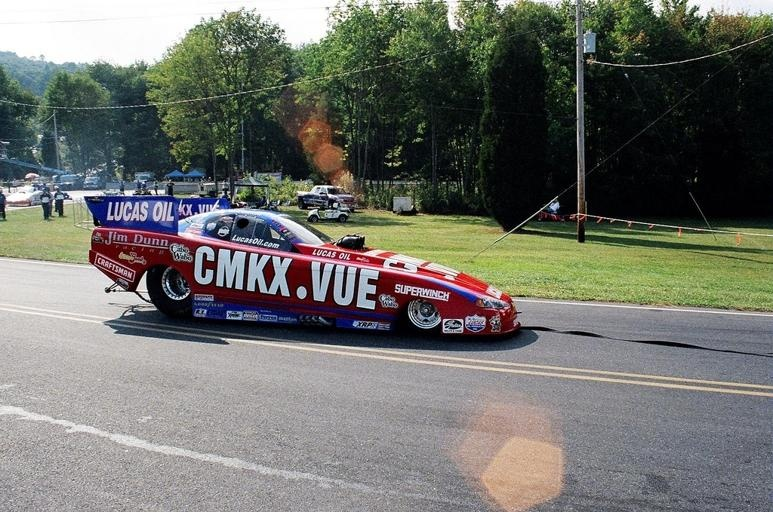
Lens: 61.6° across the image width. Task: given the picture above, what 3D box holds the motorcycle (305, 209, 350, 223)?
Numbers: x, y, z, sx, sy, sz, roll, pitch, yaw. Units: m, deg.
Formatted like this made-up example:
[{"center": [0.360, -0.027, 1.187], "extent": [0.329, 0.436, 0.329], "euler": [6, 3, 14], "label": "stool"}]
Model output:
[{"center": [-3.585, -2.504, 40.580], "extent": [2.234, 1.132, 1.135], "euler": [2, 2, -4], "label": "motorcycle"}]

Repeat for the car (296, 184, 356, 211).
[{"center": [-4.352, -4.445, 48.774], "extent": [2.170, 1.815, 4.673], "euler": [-3, 4, -42], "label": "car"}]

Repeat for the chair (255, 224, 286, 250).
[{"center": [-2.146, -0.355, 12.013], "extent": [0.710, 0.395, 0.255], "euler": [10, 17, 35], "label": "chair"}]
